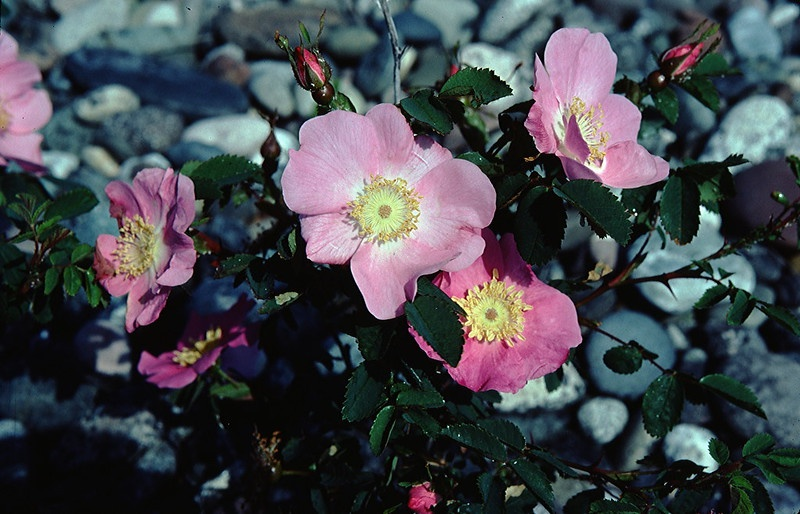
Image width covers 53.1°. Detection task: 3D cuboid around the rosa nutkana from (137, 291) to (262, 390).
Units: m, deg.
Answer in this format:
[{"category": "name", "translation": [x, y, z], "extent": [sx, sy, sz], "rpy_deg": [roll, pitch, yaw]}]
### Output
[{"category": "rosa nutkana", "translation": [-0.907, 0.410, 3.484], "extent": [0.501, 0.421, 0.184], "rpy_deg": [-10, 104, 30]}]

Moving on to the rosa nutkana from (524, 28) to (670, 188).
[{"category": "rosa nutkana", "translation": [0.657, -0.497, 3.018], "extent": [0.232, 0.594, 0.613], "rpy_deg": [35, 63, -21]}]
